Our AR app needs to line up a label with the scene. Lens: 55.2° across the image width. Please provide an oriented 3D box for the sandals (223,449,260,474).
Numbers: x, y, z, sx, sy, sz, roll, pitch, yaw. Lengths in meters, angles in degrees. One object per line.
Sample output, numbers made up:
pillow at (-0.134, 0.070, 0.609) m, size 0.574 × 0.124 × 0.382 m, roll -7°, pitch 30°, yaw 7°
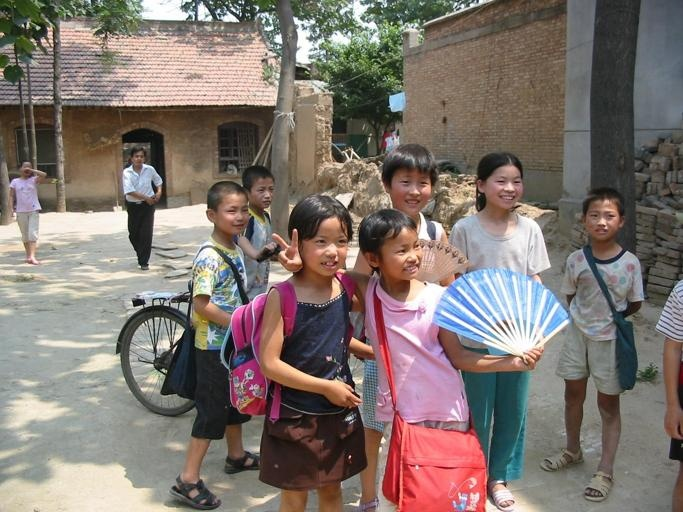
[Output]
sandals at (-0.755, 1.595, 5.086) m, size 0.357 × 0.148 × 0.175 m, roll -3°, pitch 2°, yaw -15°

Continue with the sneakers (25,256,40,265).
sneakers at (-5.253, 0.052, 11.122) m, size 0.202 × 0.132 × 0.353 m, roll -4°, pitch 9°, yaw -27°

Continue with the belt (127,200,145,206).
belt at (-3.345, -0.881, 10.562) m, size 0.275 × 0.089 × 0.111 m, roll 2°, pitch 8°, yaw 20°

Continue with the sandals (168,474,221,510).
sandals at (-1.011, 1.681, 4.659) m, size 0.365 × 0.174 × 0.179 m, roll 20°, pitch 1°, yaw 5°

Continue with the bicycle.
bicycle at (-0.947, 0.843, 6.280) m, size 2.273 × 1.484 × 1.136 m, roll 4°, pitch 0°, yaw 1°

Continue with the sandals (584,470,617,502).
sandals at (1.866, 1.667, 4.729) m, size 0.115 × 0.126 × 0.275 m, roll -9°, pitch -2°, yaw 36°

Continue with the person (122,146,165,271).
person at (-3.287, -0.822, 10.875) m, size 0.595 × 1.998 × 0.935 m, roll -3°, pitch 8°, yaw -16°

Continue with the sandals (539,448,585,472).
sandals at (1.697, 1.583, 5.008) m, size 0.303 × 0.127 × 0.141 m, roll -5°, pitch 4°, yaw -12°

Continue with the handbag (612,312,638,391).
handbag at (2.116, 0.720, 4.833) m, size 0.176 × 0.617 × 0.230 m, roll 6°, pitch 10°, yaw 40°
